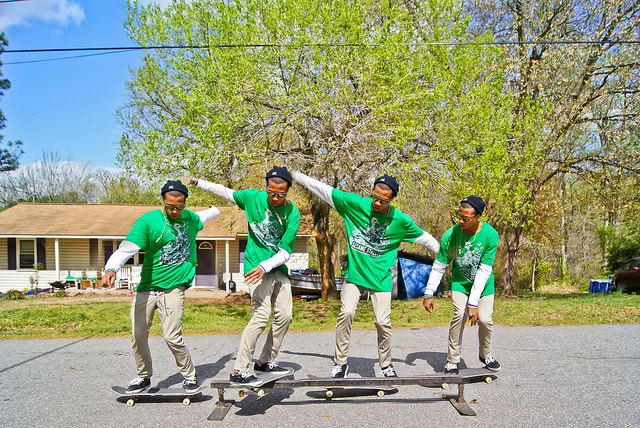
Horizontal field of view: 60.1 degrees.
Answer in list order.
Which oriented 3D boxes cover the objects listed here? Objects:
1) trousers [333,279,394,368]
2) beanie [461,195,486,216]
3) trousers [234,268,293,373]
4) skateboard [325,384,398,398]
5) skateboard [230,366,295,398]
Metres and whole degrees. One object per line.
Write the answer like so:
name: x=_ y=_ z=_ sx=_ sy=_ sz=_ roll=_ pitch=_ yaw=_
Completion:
trousers: x=0.916 y=2.378 z=12.155 sx=1.232 sy=1.937 sz=0.615 roll=-1 pitch=11 yaw=0
beanie: x=3.432 y=-0.241 z=12.268 sx=0.467 sy=0.290 sz=0.356 roll=30 pitch=0 yaw=-33
trousers: x=-1.247 y=2.298 z=12.227 sx=1.177 sy=2.234 sz=1.178 roll=1 pitch=-3 yaw=-39
skateboard: x=0.857 y=3.768 z=11.898 sx=1.391 sy=0.195 sz=0.416 roll=0 pitch=-8 yaw=-1
skateboard: x=-1.237 y=3.596 z=11.813 sx=0.458 sy=0.329 sz=1.915 roll=2 pitch=-3 yaw=28
